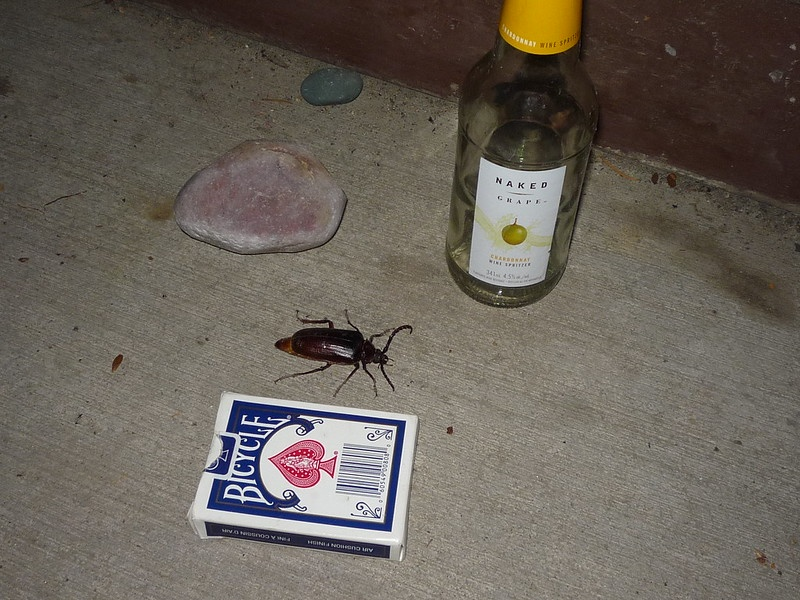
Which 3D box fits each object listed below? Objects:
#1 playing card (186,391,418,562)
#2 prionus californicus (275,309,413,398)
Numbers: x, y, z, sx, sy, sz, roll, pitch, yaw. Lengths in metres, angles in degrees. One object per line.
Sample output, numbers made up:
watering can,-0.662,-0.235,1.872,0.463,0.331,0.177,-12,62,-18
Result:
playing card,-0.210,0.408,1.875,0.491,0.122,0.317,7,66,4
prionus californicus,-0.153,0.126,2.064,0.341,0.090,0.218,12,61,1
